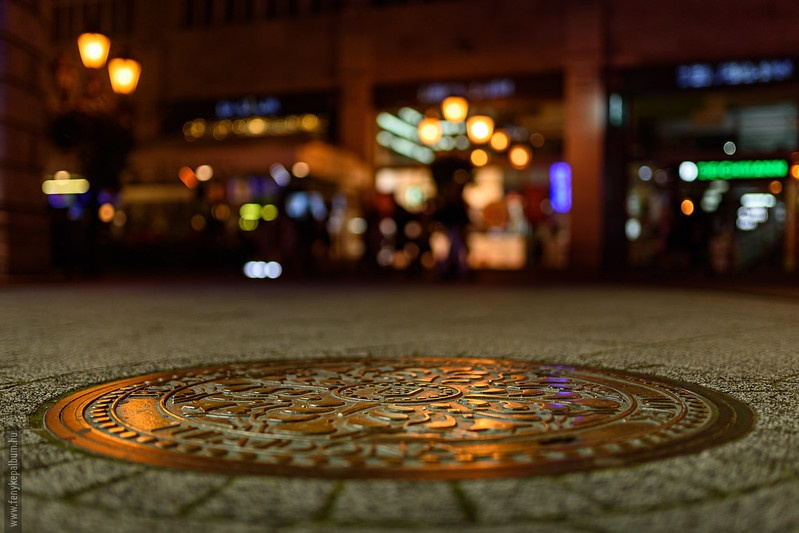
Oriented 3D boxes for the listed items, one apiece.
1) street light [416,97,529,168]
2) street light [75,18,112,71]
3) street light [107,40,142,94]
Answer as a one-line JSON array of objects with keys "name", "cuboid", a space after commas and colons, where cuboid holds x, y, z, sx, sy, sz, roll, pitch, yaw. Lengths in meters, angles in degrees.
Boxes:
[{"name": "street light", "cuboid": [2.171, -3.690, 20.150, 1.590, 1.782, 5.344, 1, 3, 24]}, {"name": "street light", "cuboid": [-4.793, -3.517, 11.756, 0.562, 0.800, 0.600, 6, 4, 38]}, {"name": "street light", "cuboid": [-4.446, -3.202, 12.036, 0.440, 0.825, 0.590, -1, 4, -19]}]
